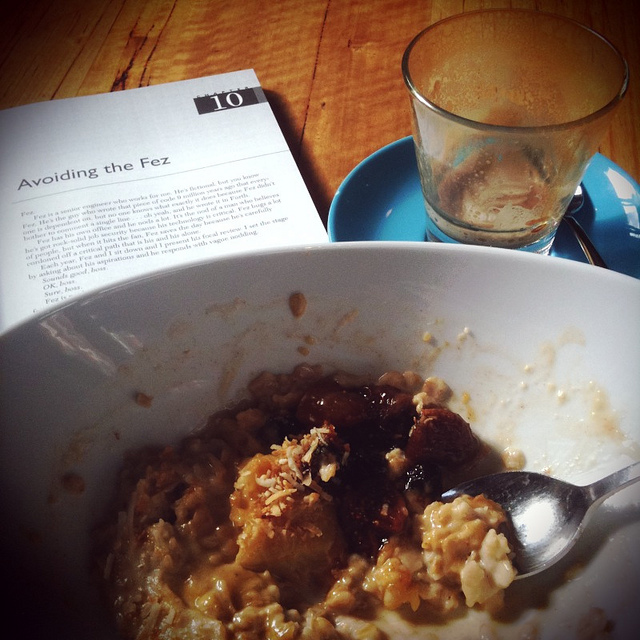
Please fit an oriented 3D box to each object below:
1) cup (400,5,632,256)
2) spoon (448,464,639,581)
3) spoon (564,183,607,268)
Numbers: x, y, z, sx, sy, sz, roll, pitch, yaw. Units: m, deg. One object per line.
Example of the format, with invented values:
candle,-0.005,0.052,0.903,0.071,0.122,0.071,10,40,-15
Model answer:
cup,0.159,-0.158,0.569,0.167,0.170,0.186,19,61,18
spoon,0.151,0.111,0.434,0.097,0.058,0.078,-30,59,-14
spoon,0.239,-0.089,0.603,0.019,0.013,0.092,5,56,-19
